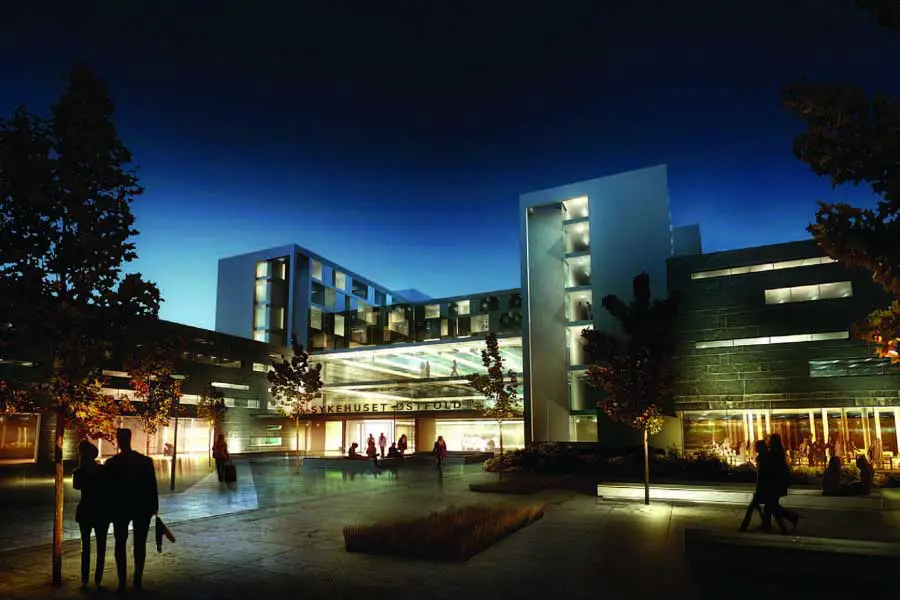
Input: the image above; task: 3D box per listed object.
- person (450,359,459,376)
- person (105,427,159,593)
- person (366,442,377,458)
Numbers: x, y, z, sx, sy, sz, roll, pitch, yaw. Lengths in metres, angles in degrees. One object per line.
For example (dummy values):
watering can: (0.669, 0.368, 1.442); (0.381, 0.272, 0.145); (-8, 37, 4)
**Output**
person: (0.483, 5.492, 55.886); (0.503, 1.197, 1.481); (-2, -12, -4)
person: (-6.919, 4.502, 14.682); (1.045, 3.387, 1.342); (3, -13, -23)
person: (-4.558, 8.647, 39.266); (0.368, 0.954, 1.592); (0, -12, -12)
